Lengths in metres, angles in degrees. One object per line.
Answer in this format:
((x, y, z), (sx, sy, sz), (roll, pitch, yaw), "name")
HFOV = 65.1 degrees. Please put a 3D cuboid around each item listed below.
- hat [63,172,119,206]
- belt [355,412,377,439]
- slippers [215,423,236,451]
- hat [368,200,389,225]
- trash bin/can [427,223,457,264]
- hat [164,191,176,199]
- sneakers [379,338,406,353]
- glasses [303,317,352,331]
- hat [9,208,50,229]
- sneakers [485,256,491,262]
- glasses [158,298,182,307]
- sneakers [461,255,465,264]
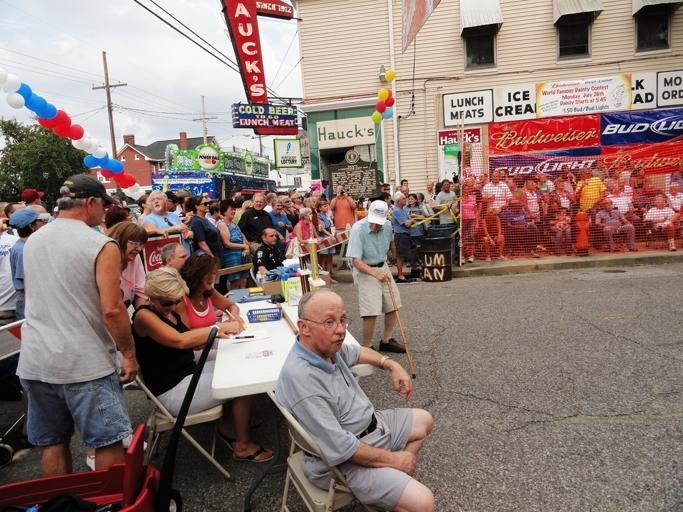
((-2.014, -0.521, 4.256), (0.315, 0.192, 0.225), (-3, 6, -40), "hat")
((0.206, 1.299, 4.050), (0.115, 0.062, 0.163), (25, 25, 9), "belt")
((-1.112, 1.757, 5.166), (0.315, 0.087, 0.124), (50, 7, 31), "slippers")
((0.465, -0.576, 6.757), (0.204, 0.159, 0.319), (8, 41, 3), "hat")
((2.045, -0.178, 11.662), (0.732, 0.840, 0.756), (-13, 8, 6), "trash bin/can")
((-2.787, -0.993, 8.745), (0.178, 0.156, 0.279), (-4, 10, -24), "hat")
((0.666, 1.199, 7.026), (0.366, 0.168, 0.139), (-2, 0, 11), "sneakers")
((-0.103, 0.501, 3.951), (0.310, 0.089, 0.105), (-5, 8, -12), "glasses")
((-3.694, -0.448, 6.374), (0.271, 0.234, 0.437), (8, 10, 28), "hat")
((3.572, 0.083, 12.987), (0.119, 0.085, 0.124), (-4, -4, 14), "sneakers")
((-1.494, 0.418, 4.684), (0.160, 0.078, 0.076), (-3, 8, 6), "glasses")
((2.895, 0.116, 12.737), (0.100, 0.128, 0.273), (-3, -6, 13), "sneakers")
